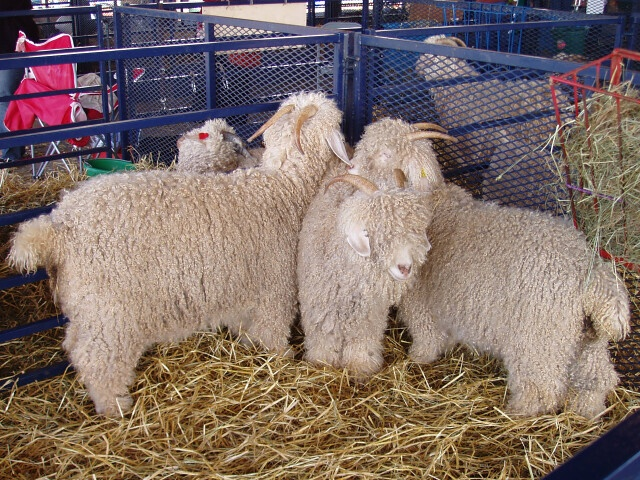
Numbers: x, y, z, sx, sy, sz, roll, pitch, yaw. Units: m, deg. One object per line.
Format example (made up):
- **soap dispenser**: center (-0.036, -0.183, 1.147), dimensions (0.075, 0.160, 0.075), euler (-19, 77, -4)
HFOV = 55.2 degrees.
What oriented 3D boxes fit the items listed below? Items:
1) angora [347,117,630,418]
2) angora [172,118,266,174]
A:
- **angora**: center (1.007, 0.157, 3.683), dimensions (0.774, 1.301, 2.050), euler (-24, 32, -24)
- **angora**: center (-0.668, -0.607, 4.194), dimensions (0.604, 0.336, 0.392), euler (-11, 24, -6)
